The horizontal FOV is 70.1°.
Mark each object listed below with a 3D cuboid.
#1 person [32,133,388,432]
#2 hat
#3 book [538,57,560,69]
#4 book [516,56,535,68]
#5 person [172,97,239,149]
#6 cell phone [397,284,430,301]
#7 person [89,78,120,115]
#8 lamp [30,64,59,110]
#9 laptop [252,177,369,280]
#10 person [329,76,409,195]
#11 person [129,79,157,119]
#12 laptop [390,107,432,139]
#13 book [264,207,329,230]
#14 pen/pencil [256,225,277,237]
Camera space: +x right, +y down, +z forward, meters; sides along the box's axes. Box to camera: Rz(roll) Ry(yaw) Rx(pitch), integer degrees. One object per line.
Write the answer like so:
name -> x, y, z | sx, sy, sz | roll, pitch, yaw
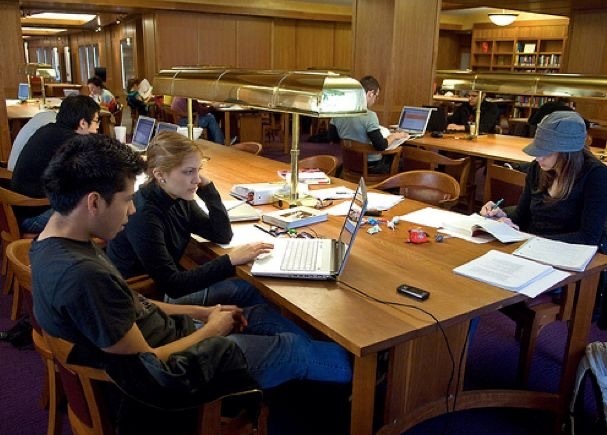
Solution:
person -> -0.358, 0.065, 1.996 | 1.378, 1.281, 0.802 | -14, 25, -21
hat -> 1.417, -0.479, 2.467 | 0.371, 0.203, 0.228 | -7, 26, 1
book -> 6.257, -3.977, 11.092 | 0.160, 0.301, 0.610 | -6, 18, -15
book -> 5.962, -4.196, 11.636 | 0.147, 0.364, 0.411 | -13, 20, -40
person -> -1.549, -1.646, 7.551 | 0.935, 0.957, 0.880 | -13, 13, -14
cell phone -> 0.442, 0.294, 1.732 | 0.100, 0.022, 0.052 | 17, 22, 42
person -> -3.945, -2.407, 8.680 | 0.525, 0.696, 0.482 | 23, 36, 32
lamp -> -4.169, -2.146, 7.008 | 0.318, 0.566, 0.976 | 0, 14, -35
laptop -> 0.057, 0.055, 1.995 | 0.580, 0.305, 0.580 | -3, 14, -14
person -> 0.749, -0.884, 4.738 | 0.827, 1.144, 0.743 | -8, 16, -37
person -> -3.488, -2.558, 9.505 | 0.544, 0.852, 0.463 | -18, 32, -34
laptop -> 1.193, -1.115, 5.110 | 0.414, 0.293, 0.463 | -20, 27, -35
book -> -0.030, -0.023, 2.411 | 0.228, 0.039, 0.161 | -9, 16, -36
pen/pencil -> -0.197, 0.074, 2.309 | 0.135, 0.014, 0.014 | 26, 16, 39
